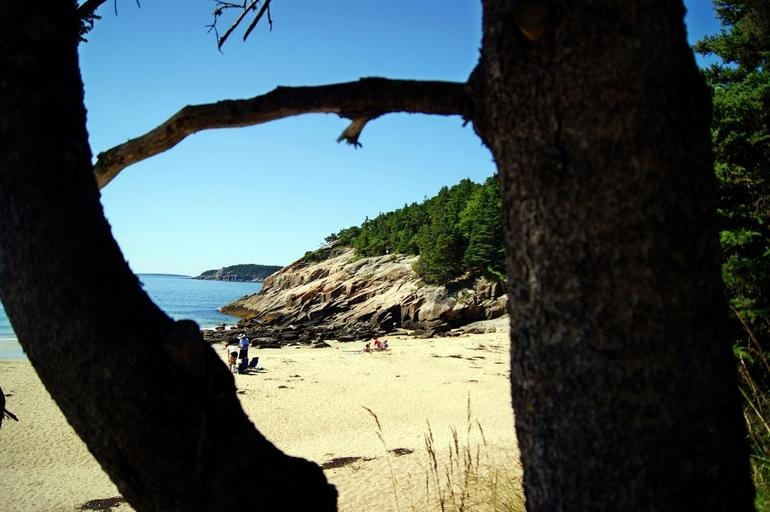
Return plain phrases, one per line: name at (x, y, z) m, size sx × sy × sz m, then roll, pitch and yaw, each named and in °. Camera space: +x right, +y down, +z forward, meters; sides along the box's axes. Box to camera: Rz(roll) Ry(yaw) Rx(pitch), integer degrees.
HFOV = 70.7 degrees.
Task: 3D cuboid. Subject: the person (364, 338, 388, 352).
person at (-0.614, 5.113, 30.794) m, size 1.485 × 0.811 × 0.676 m, roll -9°, pitch -2°, yaw 33°
